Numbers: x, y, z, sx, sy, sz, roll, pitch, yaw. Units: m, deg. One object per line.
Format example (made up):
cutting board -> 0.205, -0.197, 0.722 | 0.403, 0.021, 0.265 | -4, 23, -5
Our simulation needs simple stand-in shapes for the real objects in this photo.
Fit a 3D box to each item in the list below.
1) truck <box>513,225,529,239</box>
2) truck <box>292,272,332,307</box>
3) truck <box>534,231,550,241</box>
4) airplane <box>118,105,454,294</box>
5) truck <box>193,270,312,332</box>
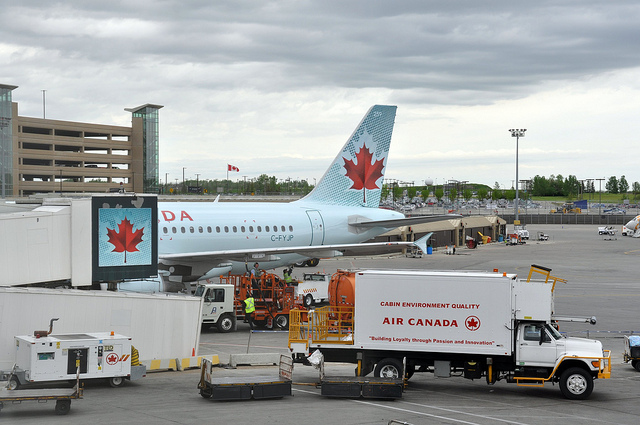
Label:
truck -> 27.985, 2.649, 140.844 | 2.221, 1.519, 2.980 | -1, -1, -4
truck -> -0.665, 5.241, 70.537 | 2.681, 1.849, 4.273 | 1, 4, 41
truck -> 31.434, 3.310, 142.905 | 1.073, 0.774, 1.571 | 5, 10, 38
airplane -> -2.165, 0.802, 72.382 | 17.080, 5.921, 16.565 | -2, 2, -44
truck -> -4.348, 5.569, 66.292 | 7.675, 3.380, 2.770 | 1, -1, -27
